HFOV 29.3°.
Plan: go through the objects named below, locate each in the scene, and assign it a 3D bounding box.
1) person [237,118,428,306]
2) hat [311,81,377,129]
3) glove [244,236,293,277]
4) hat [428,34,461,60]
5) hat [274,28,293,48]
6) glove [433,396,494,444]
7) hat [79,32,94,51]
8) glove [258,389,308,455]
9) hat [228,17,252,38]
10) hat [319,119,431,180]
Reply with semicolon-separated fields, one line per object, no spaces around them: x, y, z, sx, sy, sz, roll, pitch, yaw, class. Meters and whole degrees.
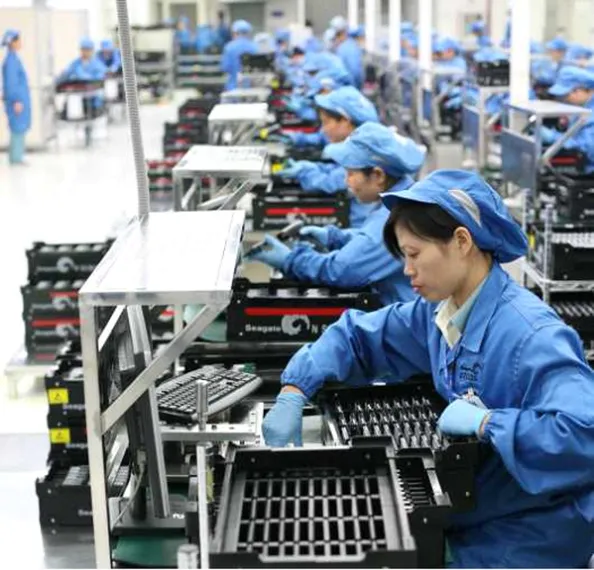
0.220;-0.265;4.819;0.916;0.781;0.572;-7;23;-22;person
0.256;-0.887;5.685;0.292;0.129;0.202;22;7;-9;hat
-0.107;-0.124;4.867;0.170;0.047;0.172;-5;29;-19;glove
1.409;-2.214;10.729;0.295;0.278;0.232;-13;17;2;hat
-0.140;-2.652;12.257;0.252;0.215;0.390;-1;4;1;hat
0.467;0.357;3.169;0.117;0.039;0.101;-12;52;33;glove
-1.379;-1.578;7.478;0.073;0.071;0.075;-1;29;-8;hat
-0.029;0.429;3.527;0.097;0.158;0.160;15;53;9;glove
-0.541;-2.492;10.999;0.154;0.164;0.201;3;29;2;hat
0.335;-0.540;4.621;0.295;0.130;0.231;11;9;3;hat
